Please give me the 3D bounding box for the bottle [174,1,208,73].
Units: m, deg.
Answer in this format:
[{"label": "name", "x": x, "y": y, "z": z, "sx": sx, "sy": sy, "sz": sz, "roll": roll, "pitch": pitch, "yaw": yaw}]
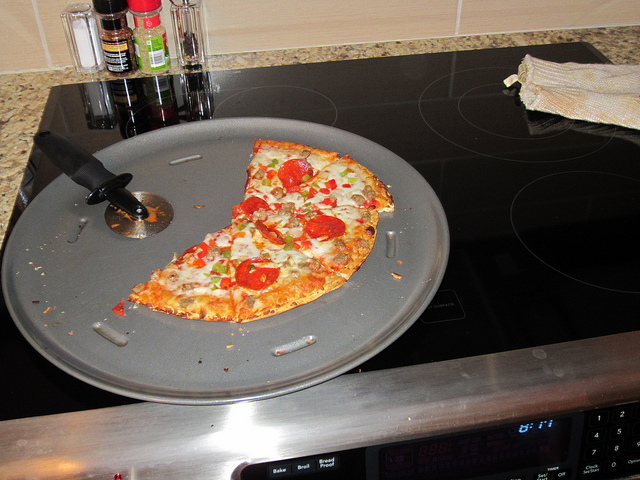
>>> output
[{"label": "bottle", "x": -0.401, "y": -0.629, "z": 1.627, "sx": 0.086, "sy": 0.270, "sz": 0.074, "roll": -6, "pitch": 40, "yaw": -9}]
